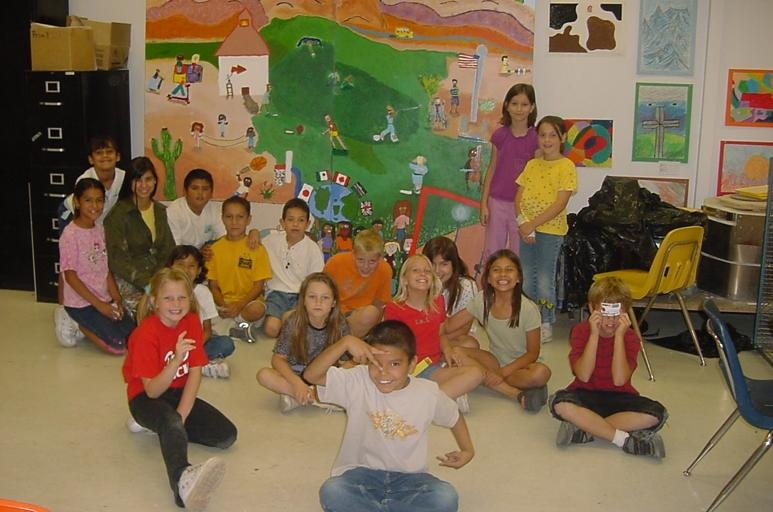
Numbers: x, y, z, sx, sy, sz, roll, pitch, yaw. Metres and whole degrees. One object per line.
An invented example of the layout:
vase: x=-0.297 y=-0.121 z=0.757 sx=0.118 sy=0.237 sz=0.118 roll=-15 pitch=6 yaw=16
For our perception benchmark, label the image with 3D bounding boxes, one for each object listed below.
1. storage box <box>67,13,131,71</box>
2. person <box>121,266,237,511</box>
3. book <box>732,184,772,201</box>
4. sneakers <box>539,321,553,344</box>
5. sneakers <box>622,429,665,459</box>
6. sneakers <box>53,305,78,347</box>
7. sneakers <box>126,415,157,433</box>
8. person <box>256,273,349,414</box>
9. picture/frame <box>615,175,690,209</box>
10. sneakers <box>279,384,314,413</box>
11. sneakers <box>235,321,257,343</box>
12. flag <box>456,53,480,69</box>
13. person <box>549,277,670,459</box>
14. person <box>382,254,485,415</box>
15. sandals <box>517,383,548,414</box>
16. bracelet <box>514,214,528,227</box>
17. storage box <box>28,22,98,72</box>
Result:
storage box: x=-2.579 y=-1.947 z=5.562 sx=0.336 sy=0.305 sz=0.341 roll=2 pitch=10 yaw=-39
person: x=-1.071 y=0.661 z=3.215 sx=0.532 sy=1.074 sz=0.849 roll=-6 pitch=16 yaw=-31
book: x=3.092 y=-0.543 z=5.082 sx=0.236 sy=0.100 sz=0.508 roll=9 pitch=14 yaw=29
sneakers: x=1.276 y=0.607 z=4.771 sx=0.138 sy=0.168 sz=0.064 roll=-3 pitch=-9 yaw=34
sneakers: x=1.473 y=1.062 z=3.423 sx=0.197 sy=0.079 sz=0.155 roll=-1 pitch=-7 yaw=11
sneakers: x=-2.421 y=0.525 z=4.631 sx=0.203 sy=0.309 sz=0.153 roll=-5 pitch=3 yaw=16
sneakers: x=-1.472 y=1.007 z=3.527 sx=0.183 sy=0.067 sz=0.135 roll=19 pitch=0 yaw=-15
person: x=-0.526 y=0.573 z=3.801 sx=0.740 sy=0.783 sz=0.571 roll=-1 pitch=27 yaw=-16
picture/frame: x=2.466 y=-0.576 z=5.371 sx=0.523 sy=0.247 sz=0.078 roll=3 pitch=14 yaw=3
sneakers: x=-0.560 y=0.896 z=3.768 sx=0.210 sy=0.184 sz=0.079 roll=-18 pitch=5 yaw=3
sneakers: x=-1.132 y=0.583 z=4.809 sx=0.191 sy=0.125 sz=0.140 roll=20 pitch=25 yaw=27
flag: x=0.721 y=-1.701 z=5.231 sx=0.150 sy=0.105 sz=0.013 roll=2 pitch=14 yaw=1
person: x=1.347 y=0.638 z=3.572 sx=0.649 sy=0.927 sz=0.503 roll=6 pitch=14 yaw=17
person: x=0.262 y=0.515 z=3.823 sx=0.701 sy=0.978 sz=0.641 roll=-6 pitch=12 yaw=-19
sandals: x=0.938 y=0.919 z=3.896 sx=0.136 sy=0.188 sz=0.112 roll=15 pitch=43 yaw=-37
bracelet: x=1.039 y=-0.267 z=4.605 sx=0.088 sy=0.064 sz=0.085 roll=-2 pitch=7 yaw=-2
storage box: x=-2.856 y=-1.820 z=5.334 sx=0.515 sy=0.357 sz=0.274 roll=8 pitch=13 yaw=22
